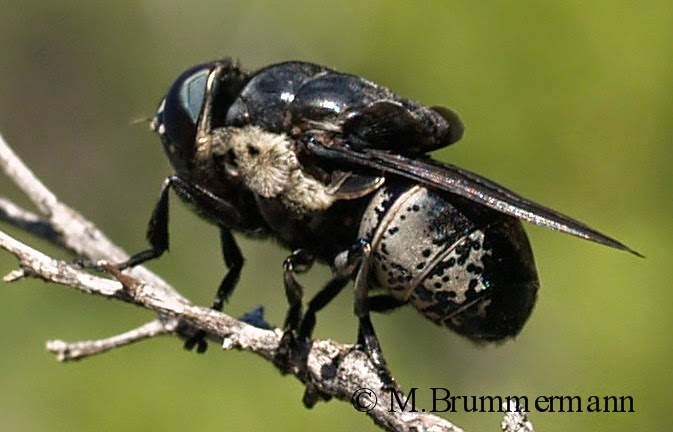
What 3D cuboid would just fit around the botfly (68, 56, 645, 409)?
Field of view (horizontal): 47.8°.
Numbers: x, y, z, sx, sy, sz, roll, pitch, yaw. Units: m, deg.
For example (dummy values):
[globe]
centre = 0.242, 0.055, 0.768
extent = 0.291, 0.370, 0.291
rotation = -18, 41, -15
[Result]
[botfly]
centre = 0.217, -0.020, 4.742
extent = 3.258, 1.424, 1.688
rotation = 17, 11, 20
